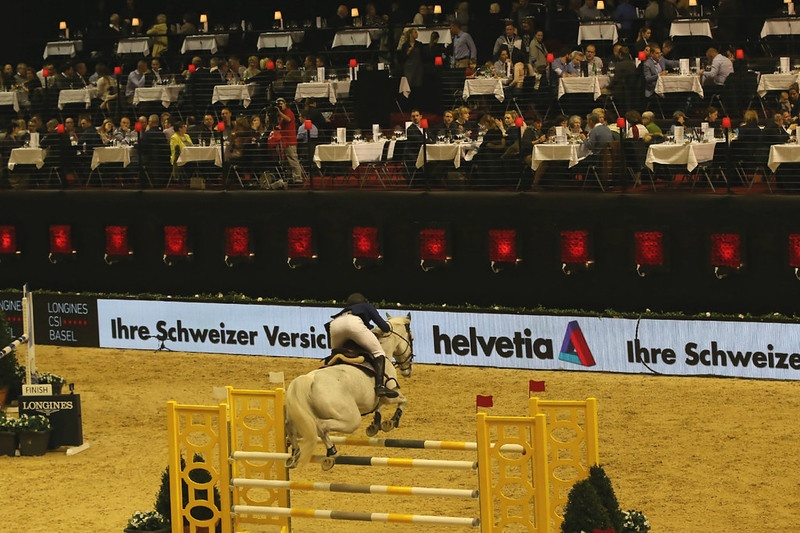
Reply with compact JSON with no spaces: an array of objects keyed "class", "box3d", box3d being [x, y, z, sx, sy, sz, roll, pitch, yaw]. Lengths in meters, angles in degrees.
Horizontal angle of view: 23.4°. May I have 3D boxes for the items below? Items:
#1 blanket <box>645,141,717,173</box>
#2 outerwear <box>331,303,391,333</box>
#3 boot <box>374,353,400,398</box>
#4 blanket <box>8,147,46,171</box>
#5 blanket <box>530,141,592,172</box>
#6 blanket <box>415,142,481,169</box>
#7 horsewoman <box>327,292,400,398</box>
[{"class":"blanket","box3d":[7.117,-2.755,48.776,1.730,0.672,0.646,-1,4,9]},{"class":"outerwear","box3d":[-0.745,1.101,43.728,0.856,0.365,0.764,22,-5,-12]},{"class":"boot","box3d":[-0.307,2.460,43.447,0.589,1.138,0.328,-8,-28,-13]},{"class":"blanket","box3d":[-10.196,-2.936,52.924,1.063,0.557,0.632,-1,4,9]},{"class":"blanket","box3d":[4.077,-2.798,49.254,1.397,0.596,0.341,-1,4,1]},{"class":"blanket","box3d":[1.249,-2.865,50.131,1.572,0.643,0.485,-1,4,0]},{"class":"horsewoman","box3d":[-0.873,1.865,44.073,1.277,2.727,1.799,-6,-23,3]}]
